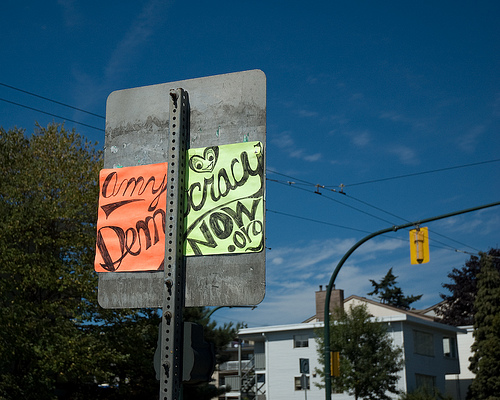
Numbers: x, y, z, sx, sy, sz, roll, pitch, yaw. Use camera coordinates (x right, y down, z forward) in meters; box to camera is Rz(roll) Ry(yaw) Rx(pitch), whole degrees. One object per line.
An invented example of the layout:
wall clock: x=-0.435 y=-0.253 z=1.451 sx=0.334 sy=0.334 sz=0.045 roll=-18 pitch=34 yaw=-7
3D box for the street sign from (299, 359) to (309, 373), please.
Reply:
street sign: x=2.806 y=8.652 z=59.440 sx=0.376 sy=0.792 sz=0.831 roll=0 pitch=-16 yaw=-1

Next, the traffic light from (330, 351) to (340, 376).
traffic light: x=4.151 y=8.144 z=56.780 sx=0.378 sy=1.177 sz=0.721 roll=-2 pitch=-16 yaw=6

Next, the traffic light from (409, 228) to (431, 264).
traffic light: x=8.168 y=2.216 z=55.045 sx=1.296 sy=1.882 sz=0.601 roll=12 pitch=-20 yaw=-37
